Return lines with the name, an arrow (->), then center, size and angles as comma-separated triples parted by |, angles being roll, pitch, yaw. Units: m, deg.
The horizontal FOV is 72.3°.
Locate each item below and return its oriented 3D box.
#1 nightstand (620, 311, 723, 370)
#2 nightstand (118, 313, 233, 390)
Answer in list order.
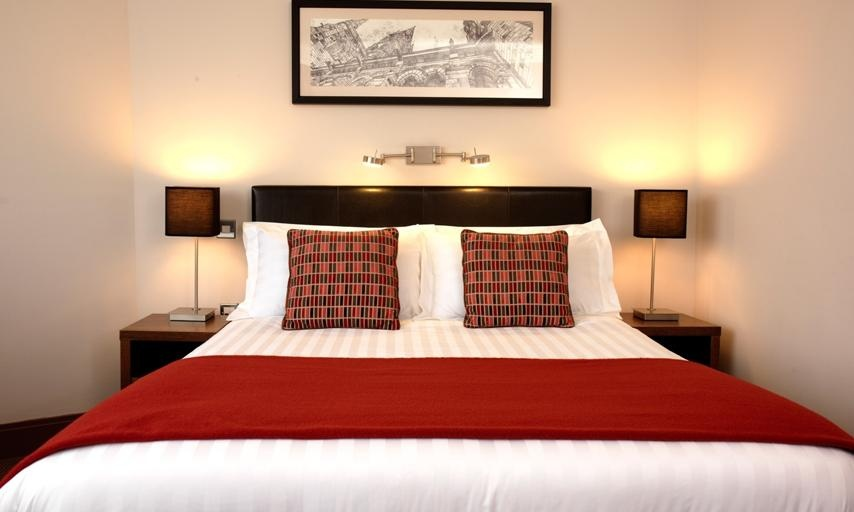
nightstand -> 1.687, 0.558, 4.073 | 0.551, 0.384, 0.446 | 0, -81, -2
nightstand -> -1.693, 0.575, 3.911 | 0.602, 0.543, 0.522 | 0, -83, 1
